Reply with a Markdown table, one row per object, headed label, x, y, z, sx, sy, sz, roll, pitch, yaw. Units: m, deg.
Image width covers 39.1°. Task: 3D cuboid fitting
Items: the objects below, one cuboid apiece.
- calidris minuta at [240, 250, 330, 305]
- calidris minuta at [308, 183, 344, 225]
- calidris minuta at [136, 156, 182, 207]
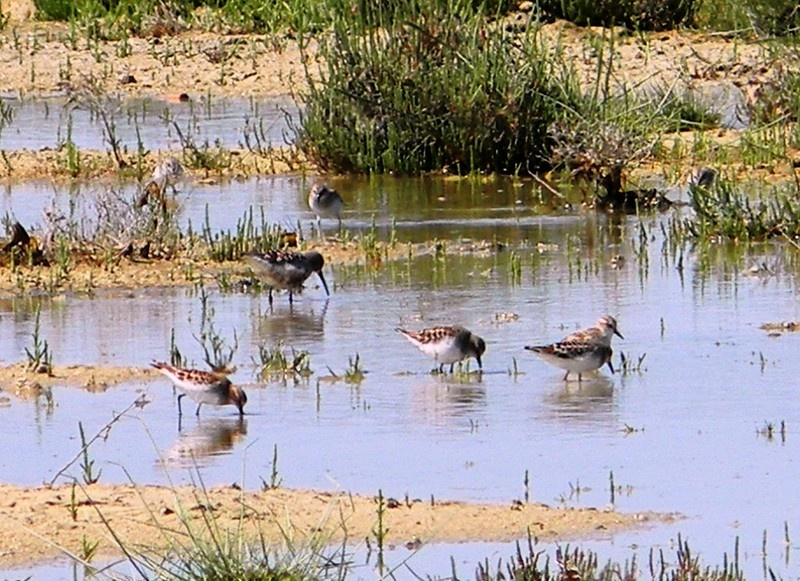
| label | x | y | z | sx | sy | sz | roll | pitch | yaw |
| --- | --- | --- | --- | --- | --- | --- | --- | --- | --- |
| calidris minuta | -1.424 | -0.239 | 14.070 | 0.422 | 0.858 | 1.361 | -6 | -13 | 39 |
| calidris minuta | -1.264 | -1.494 | 18.300 | 0.583 | 0.585 | 0.378 | -14 | 21 | -35 |
| calidris minuta | -4.313 | -1.924 | 20.118 | 0.366 | 0.827 | 1.446 | -2 | -2 | -45 |
